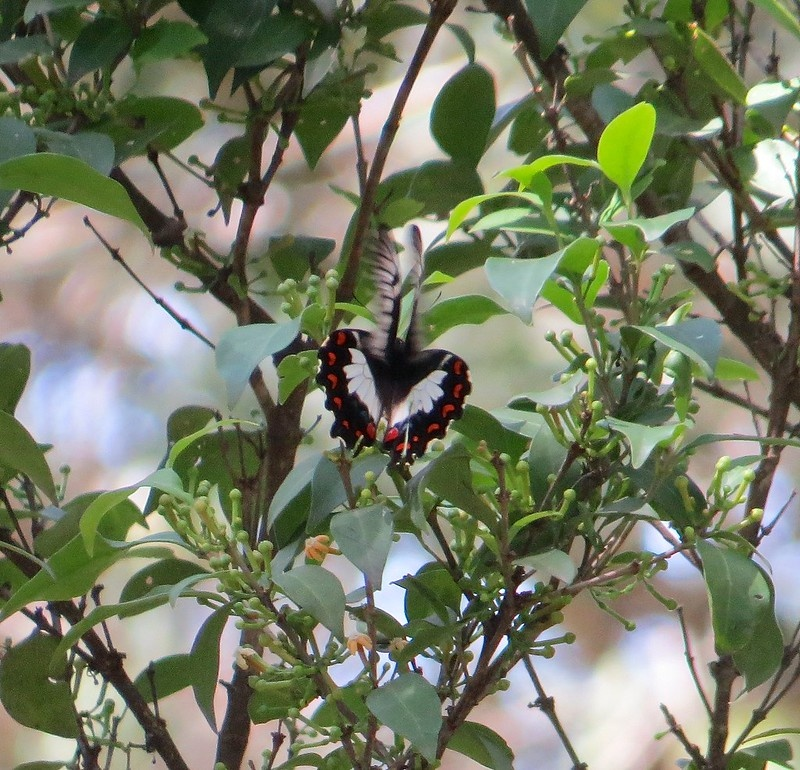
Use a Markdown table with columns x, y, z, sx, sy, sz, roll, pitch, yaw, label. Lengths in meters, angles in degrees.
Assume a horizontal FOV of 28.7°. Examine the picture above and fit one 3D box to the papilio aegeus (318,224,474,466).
| x | y | z | sx | sy | sz | roll | pitch | yaw | label |
| --- | --- | --- | --- | --- | --- | --- | --- | --- | --- |
| -0.016 | -0.020 | 1.323 | 0.111 | 0.095 | 0.162 | -28 | -58 | 22 | papilio aegeus |
